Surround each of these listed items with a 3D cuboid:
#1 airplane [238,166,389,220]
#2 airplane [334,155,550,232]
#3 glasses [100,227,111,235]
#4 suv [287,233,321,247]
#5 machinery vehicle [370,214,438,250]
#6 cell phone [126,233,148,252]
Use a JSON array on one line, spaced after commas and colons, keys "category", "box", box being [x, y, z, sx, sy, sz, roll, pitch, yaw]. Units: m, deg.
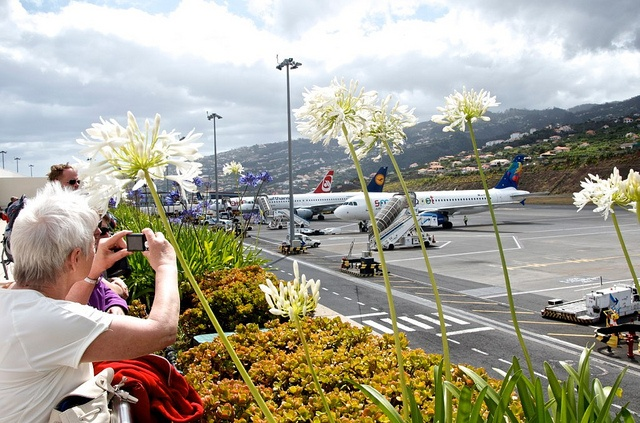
[{"category": "airplane", "box": [-1.635, -1.772, 58.522, 12.825, 4.274, 12.147, -4, 6, -26]}, {"category": "airplane", "box": [14.614, -1.305, 46.657, 15.328, 5.146, 13.129, -2, 1, -11]}, {"category": "glasses", "box": [-2.784, 0.252, 5.105, 0.087, 0.102, 0.049, 0, 1, -10]}, {"category": "suv", "box": [-1.176, 2.500, 33.219, 2.200, 0.952, 1.310, -4, 9, -9]}, {"category": "machinery vehicle", "box": [6.875, 1.700, 32.245, 5.827, 2.561, 1.740, -1, 1, -14]}, {"category": "cell phone", "box": [-1.630, 0.275, 3.507, 0.181, 0.165, 0.093, 1, 4, -4]}]
